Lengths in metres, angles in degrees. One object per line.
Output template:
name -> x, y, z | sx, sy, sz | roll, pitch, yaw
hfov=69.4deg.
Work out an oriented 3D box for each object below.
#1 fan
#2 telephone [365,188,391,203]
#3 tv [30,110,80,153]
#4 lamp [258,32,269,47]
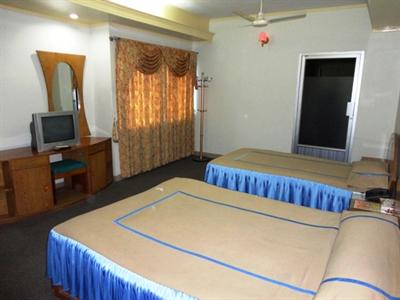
fan -> 1.349, -2.486, 5.285 | 0.990, 0.452, 1.065 | 4, 16, 19
telephone -> 2.015, 0.515, 3.268 | 0.194, 0.072, 0.145 | -2, 21, 0
tv -> -2.330, -0.336, 4.620 | 0.388, 0.586, 0.650 | 13, 18, 41
lamp -> 1.319, -2.290, 5.941 | 0.206, 0.250, 0.309 | 3, 11, 15
